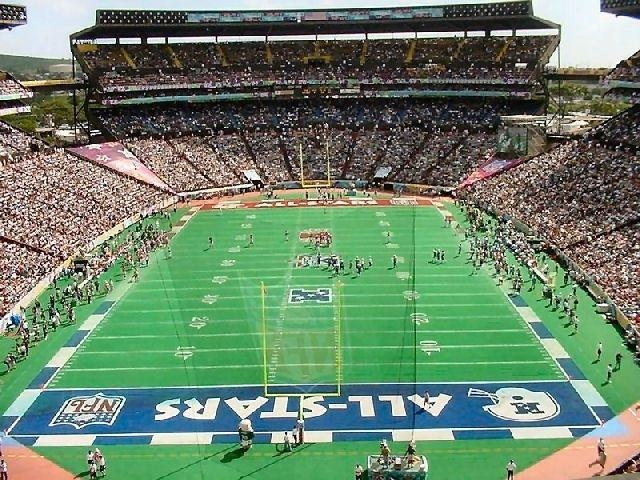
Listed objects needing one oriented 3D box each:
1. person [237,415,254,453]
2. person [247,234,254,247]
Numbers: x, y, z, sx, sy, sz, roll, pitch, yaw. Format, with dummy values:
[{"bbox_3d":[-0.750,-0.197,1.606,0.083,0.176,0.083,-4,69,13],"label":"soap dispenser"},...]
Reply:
[{"bbox_3d":[-2.289,6.052,14.756,0.452,0.924,0.627,-1,-26,-9],"label":"person"},{"bbox_3d":[-4.768,0.063,32.337,0.332,0.727,0.702,24,-49,1],"label":"person"}]
